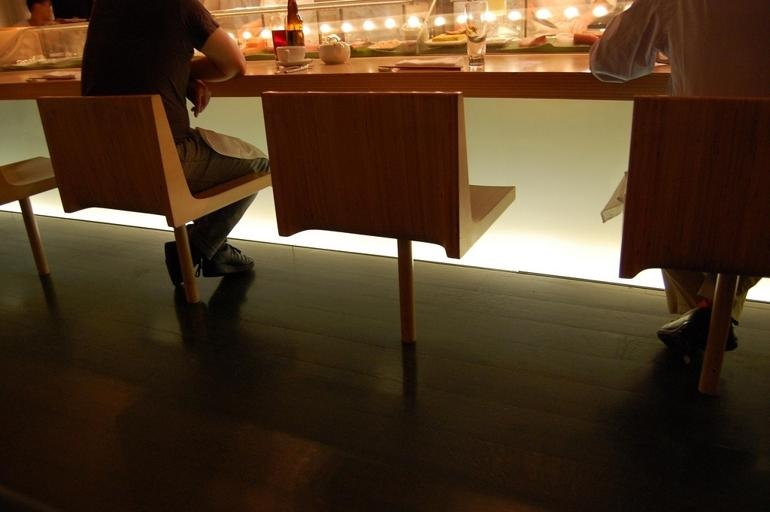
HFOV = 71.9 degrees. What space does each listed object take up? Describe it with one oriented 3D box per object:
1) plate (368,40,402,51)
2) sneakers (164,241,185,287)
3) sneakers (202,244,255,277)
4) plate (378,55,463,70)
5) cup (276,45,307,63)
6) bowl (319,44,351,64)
[{"bbox_3d":[0.013,-0.947,2.380,0.158,0.038,0.109,6,25,17],"label":"plate"},{"bbox_3d":[-0.942,0.031,2.349,0.055,0.201,0.144,-7,14,-32],"label":"sneakers"},{"bbox_3d":[-0.721,-0.007,2.458,0.099,0.150,0.231,6,5,33],"label":"sneakers"},{"bbox_3d":[0.148,-0.688,1.908,0.315,0.038,0.222,19,31,39],"label":"plate"},{"bbox_3d":[-0.391,-0.816,2.154,0.077,0.049,0.095,9,34,13],"label":"cup"},{"bbox_3d":[-0.201,-0.840,2.191,0.093,0.055,0.092,0,22,0],"label":"bowl"}]
